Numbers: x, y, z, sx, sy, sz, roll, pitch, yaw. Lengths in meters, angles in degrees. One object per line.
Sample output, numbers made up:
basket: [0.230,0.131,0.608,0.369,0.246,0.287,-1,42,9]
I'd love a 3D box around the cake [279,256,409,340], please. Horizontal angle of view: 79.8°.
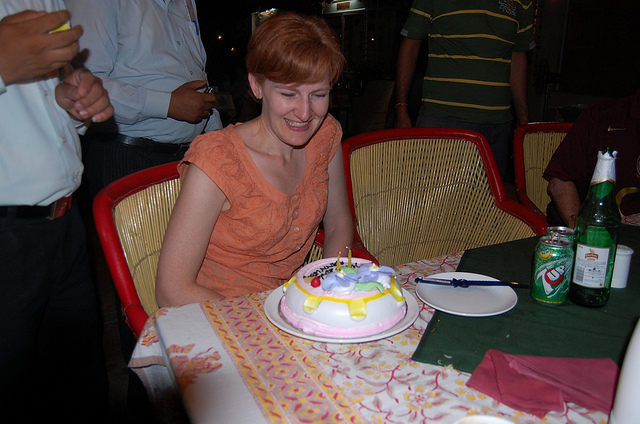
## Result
cake: [0.063,0.194,0.999,0.322,0.118,0.345,2,16,23]

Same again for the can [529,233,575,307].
can: [0.627,0.156,1.033,0.102,0.176,0.089,-18,27,-40]

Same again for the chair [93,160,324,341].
chair: [-0.331,0.115,1.518,0.631,0.829,0.587,-26,43,-25]
